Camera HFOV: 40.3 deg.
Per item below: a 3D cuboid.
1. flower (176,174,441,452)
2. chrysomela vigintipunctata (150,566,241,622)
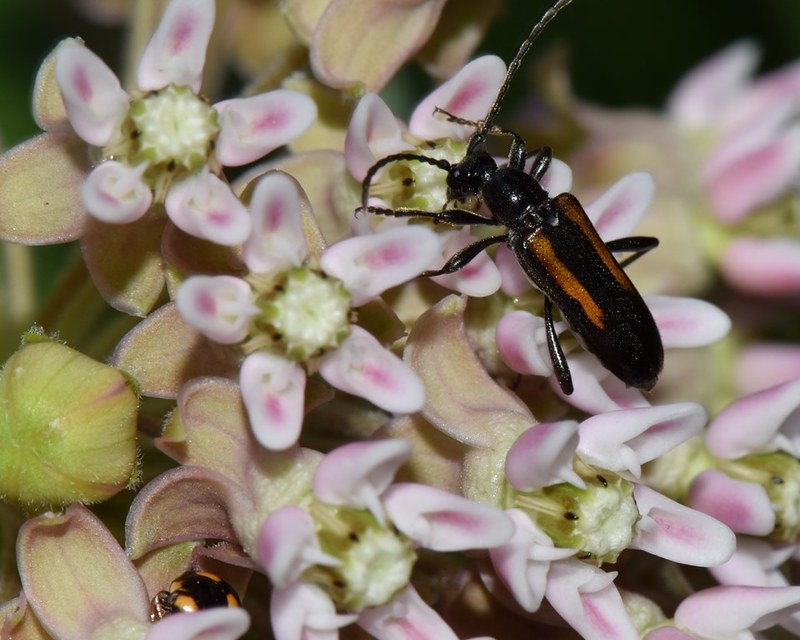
[{"bbox_3d":[-0.128,-0.001,1.908,0.364,0.229,0.455,5,67,-1],"label":"flower"},{"bbox_3d":[-0.354,0.482,1.874,0.139,0.043,0.101,9,37,-4],"label":"chrysomela vigintipunctata"}]
